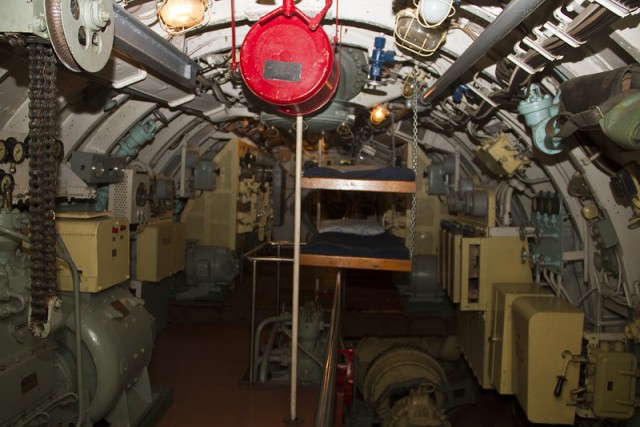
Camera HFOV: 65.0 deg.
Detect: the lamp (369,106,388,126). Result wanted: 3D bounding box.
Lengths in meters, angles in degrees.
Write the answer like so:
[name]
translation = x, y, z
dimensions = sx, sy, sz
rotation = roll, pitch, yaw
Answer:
[lamp]
translation = 1.046, -1.770, 9.070
dimensions = 0.211, 0.544, 0.610
rotation = -2, 8, -11
